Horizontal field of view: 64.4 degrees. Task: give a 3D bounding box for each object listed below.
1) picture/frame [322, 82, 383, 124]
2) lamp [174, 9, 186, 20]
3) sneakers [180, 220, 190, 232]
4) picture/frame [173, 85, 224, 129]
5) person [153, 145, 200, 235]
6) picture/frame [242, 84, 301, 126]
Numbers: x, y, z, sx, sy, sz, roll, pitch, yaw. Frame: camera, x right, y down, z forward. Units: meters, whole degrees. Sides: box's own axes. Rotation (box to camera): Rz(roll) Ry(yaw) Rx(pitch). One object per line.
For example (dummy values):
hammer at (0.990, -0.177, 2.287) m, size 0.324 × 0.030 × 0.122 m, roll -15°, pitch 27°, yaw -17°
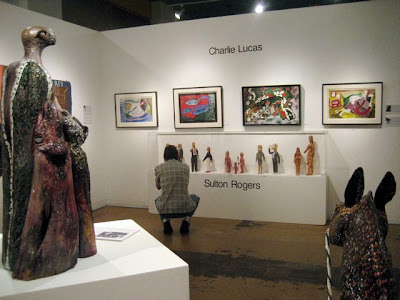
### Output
picture/frame at (2.756, -0.848, 5.632) m, size 0.690 × 0.603 × 0.025 m, roll 1°, pitch 4°, yaw 16°
lamp at (-0.409, -2.761, 6.493) m, size 0.245 × 0.190 × 0.058 m, roll 4°, pitch 7°, yaw 44°
sneakers at (-0.220, 1.296, 5.364) m, size 0.129 × 0.215 × 0.211 m, roll 2°, pitch -5°, yaw -1°
picture/frame at (0.016, -0.881, 6.413) m, size 0.799 × 0.754 × 0.068 m, roll 1°, pitch 5°, yaw 14°
person at (-0.394, 0.667, 5.256) m, size 0.660 × 1.478 × 0.394 m, roll -1°, pitch 5°, yaw -3°
picture/frame at (1.412, -0.872, 6.004) m, size 0.716 × 0.579 × 0.028 m, roll 1°, pitch 5°, yaw 19°
